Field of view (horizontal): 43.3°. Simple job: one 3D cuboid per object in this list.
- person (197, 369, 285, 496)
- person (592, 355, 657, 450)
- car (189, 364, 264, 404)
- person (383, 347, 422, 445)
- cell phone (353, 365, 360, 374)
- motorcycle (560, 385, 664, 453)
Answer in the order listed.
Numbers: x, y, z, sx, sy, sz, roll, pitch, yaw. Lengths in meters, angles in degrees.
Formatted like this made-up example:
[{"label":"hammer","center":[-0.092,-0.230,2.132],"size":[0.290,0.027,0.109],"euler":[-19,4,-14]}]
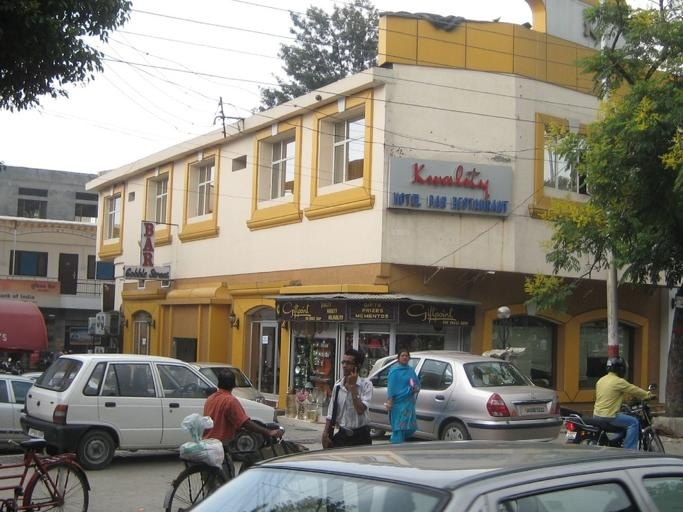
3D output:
[{"label":"person","center":[-1.518,2.653,12.058],"size":[0.888,2.126,1.115],"euler":[2,3,-38]},{"label":"person","center":[4.906,2.600,14.974],"size":[0.945,1.726,0.756],"euler":[-2,1,-5]},{"label":"car","center":[-2.615,2.961,20.157],"size":[1.905,0.993,1.077],"euler":[-6,-7,40]},{"label":"person","center":[1.013,2.294,14.287],"size":[0.539,1.515,0.622],"euler":[-1,-10,3]},{"label":"cell phone","center":[0.227,1.709,12.896],"size":[0.109,0.162,0.057],"euler":[0,-3,-27]},{"label":"motorcycle","center":[4.941,3.005,15.183],"size":[2.075,1.394,1.185],"euler":[2,-8,-21]}]
